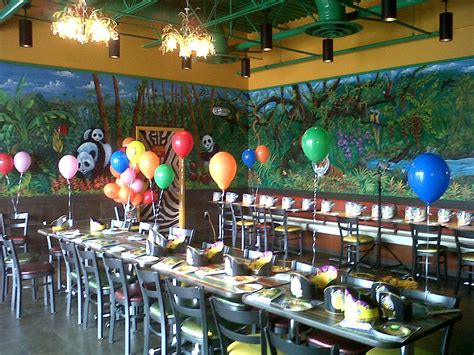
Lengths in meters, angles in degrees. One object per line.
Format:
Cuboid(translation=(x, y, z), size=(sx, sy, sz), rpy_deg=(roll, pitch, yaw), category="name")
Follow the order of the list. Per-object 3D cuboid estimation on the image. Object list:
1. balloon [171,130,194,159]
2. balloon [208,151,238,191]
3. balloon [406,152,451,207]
Cuboid(translation=(-0.902, -0.524, 6.276), size=(0.393, 0.553, 0.371), rpy_deg=(-1, 13, 1), category="balloon")
Cuboid(translation=(-0.081, -0.069, 5.137), size=(0.400, 0.535, 0.354), rpy_deg=(17, -13, -31), category="balloon")
Cuboid(translation=(2.168, 0.026, 4.234), size=(0.472, 0.601, 0.467), rpy_deg=(-6, 18, 21), category="balloon")
